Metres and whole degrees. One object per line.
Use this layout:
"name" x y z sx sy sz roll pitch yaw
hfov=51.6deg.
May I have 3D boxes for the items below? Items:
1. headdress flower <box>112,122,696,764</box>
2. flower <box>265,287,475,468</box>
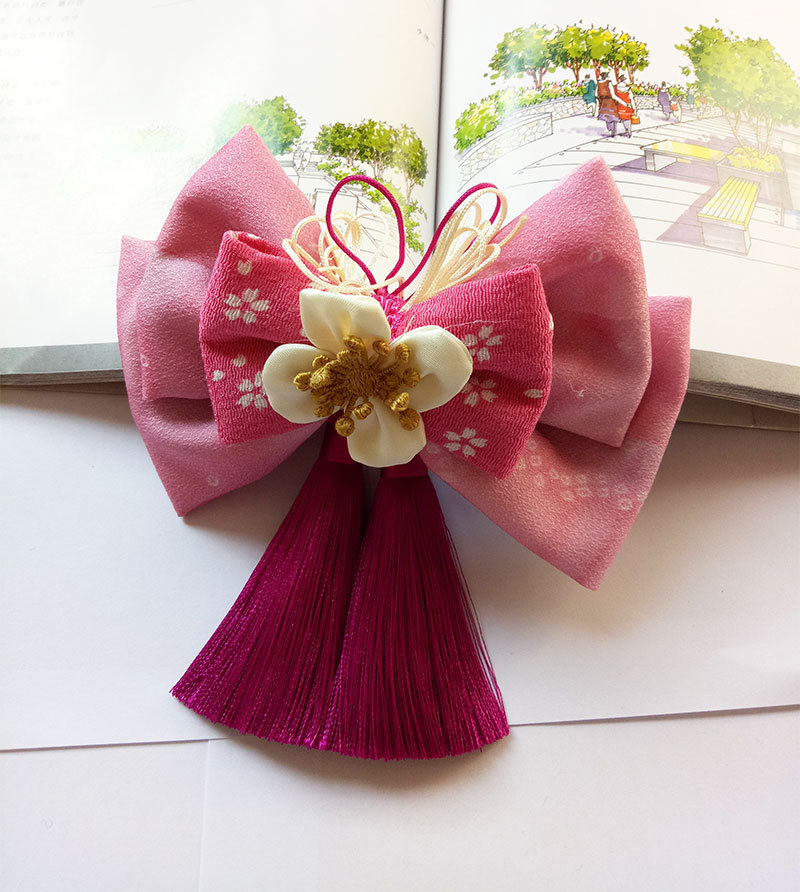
"headdress flower" 0.009 0.029 0.813 0.727 0.609 0.169 9 12 14
"flower" -0.025 -0.057 0.686 0.183 0.147 0.050 17 34 8
